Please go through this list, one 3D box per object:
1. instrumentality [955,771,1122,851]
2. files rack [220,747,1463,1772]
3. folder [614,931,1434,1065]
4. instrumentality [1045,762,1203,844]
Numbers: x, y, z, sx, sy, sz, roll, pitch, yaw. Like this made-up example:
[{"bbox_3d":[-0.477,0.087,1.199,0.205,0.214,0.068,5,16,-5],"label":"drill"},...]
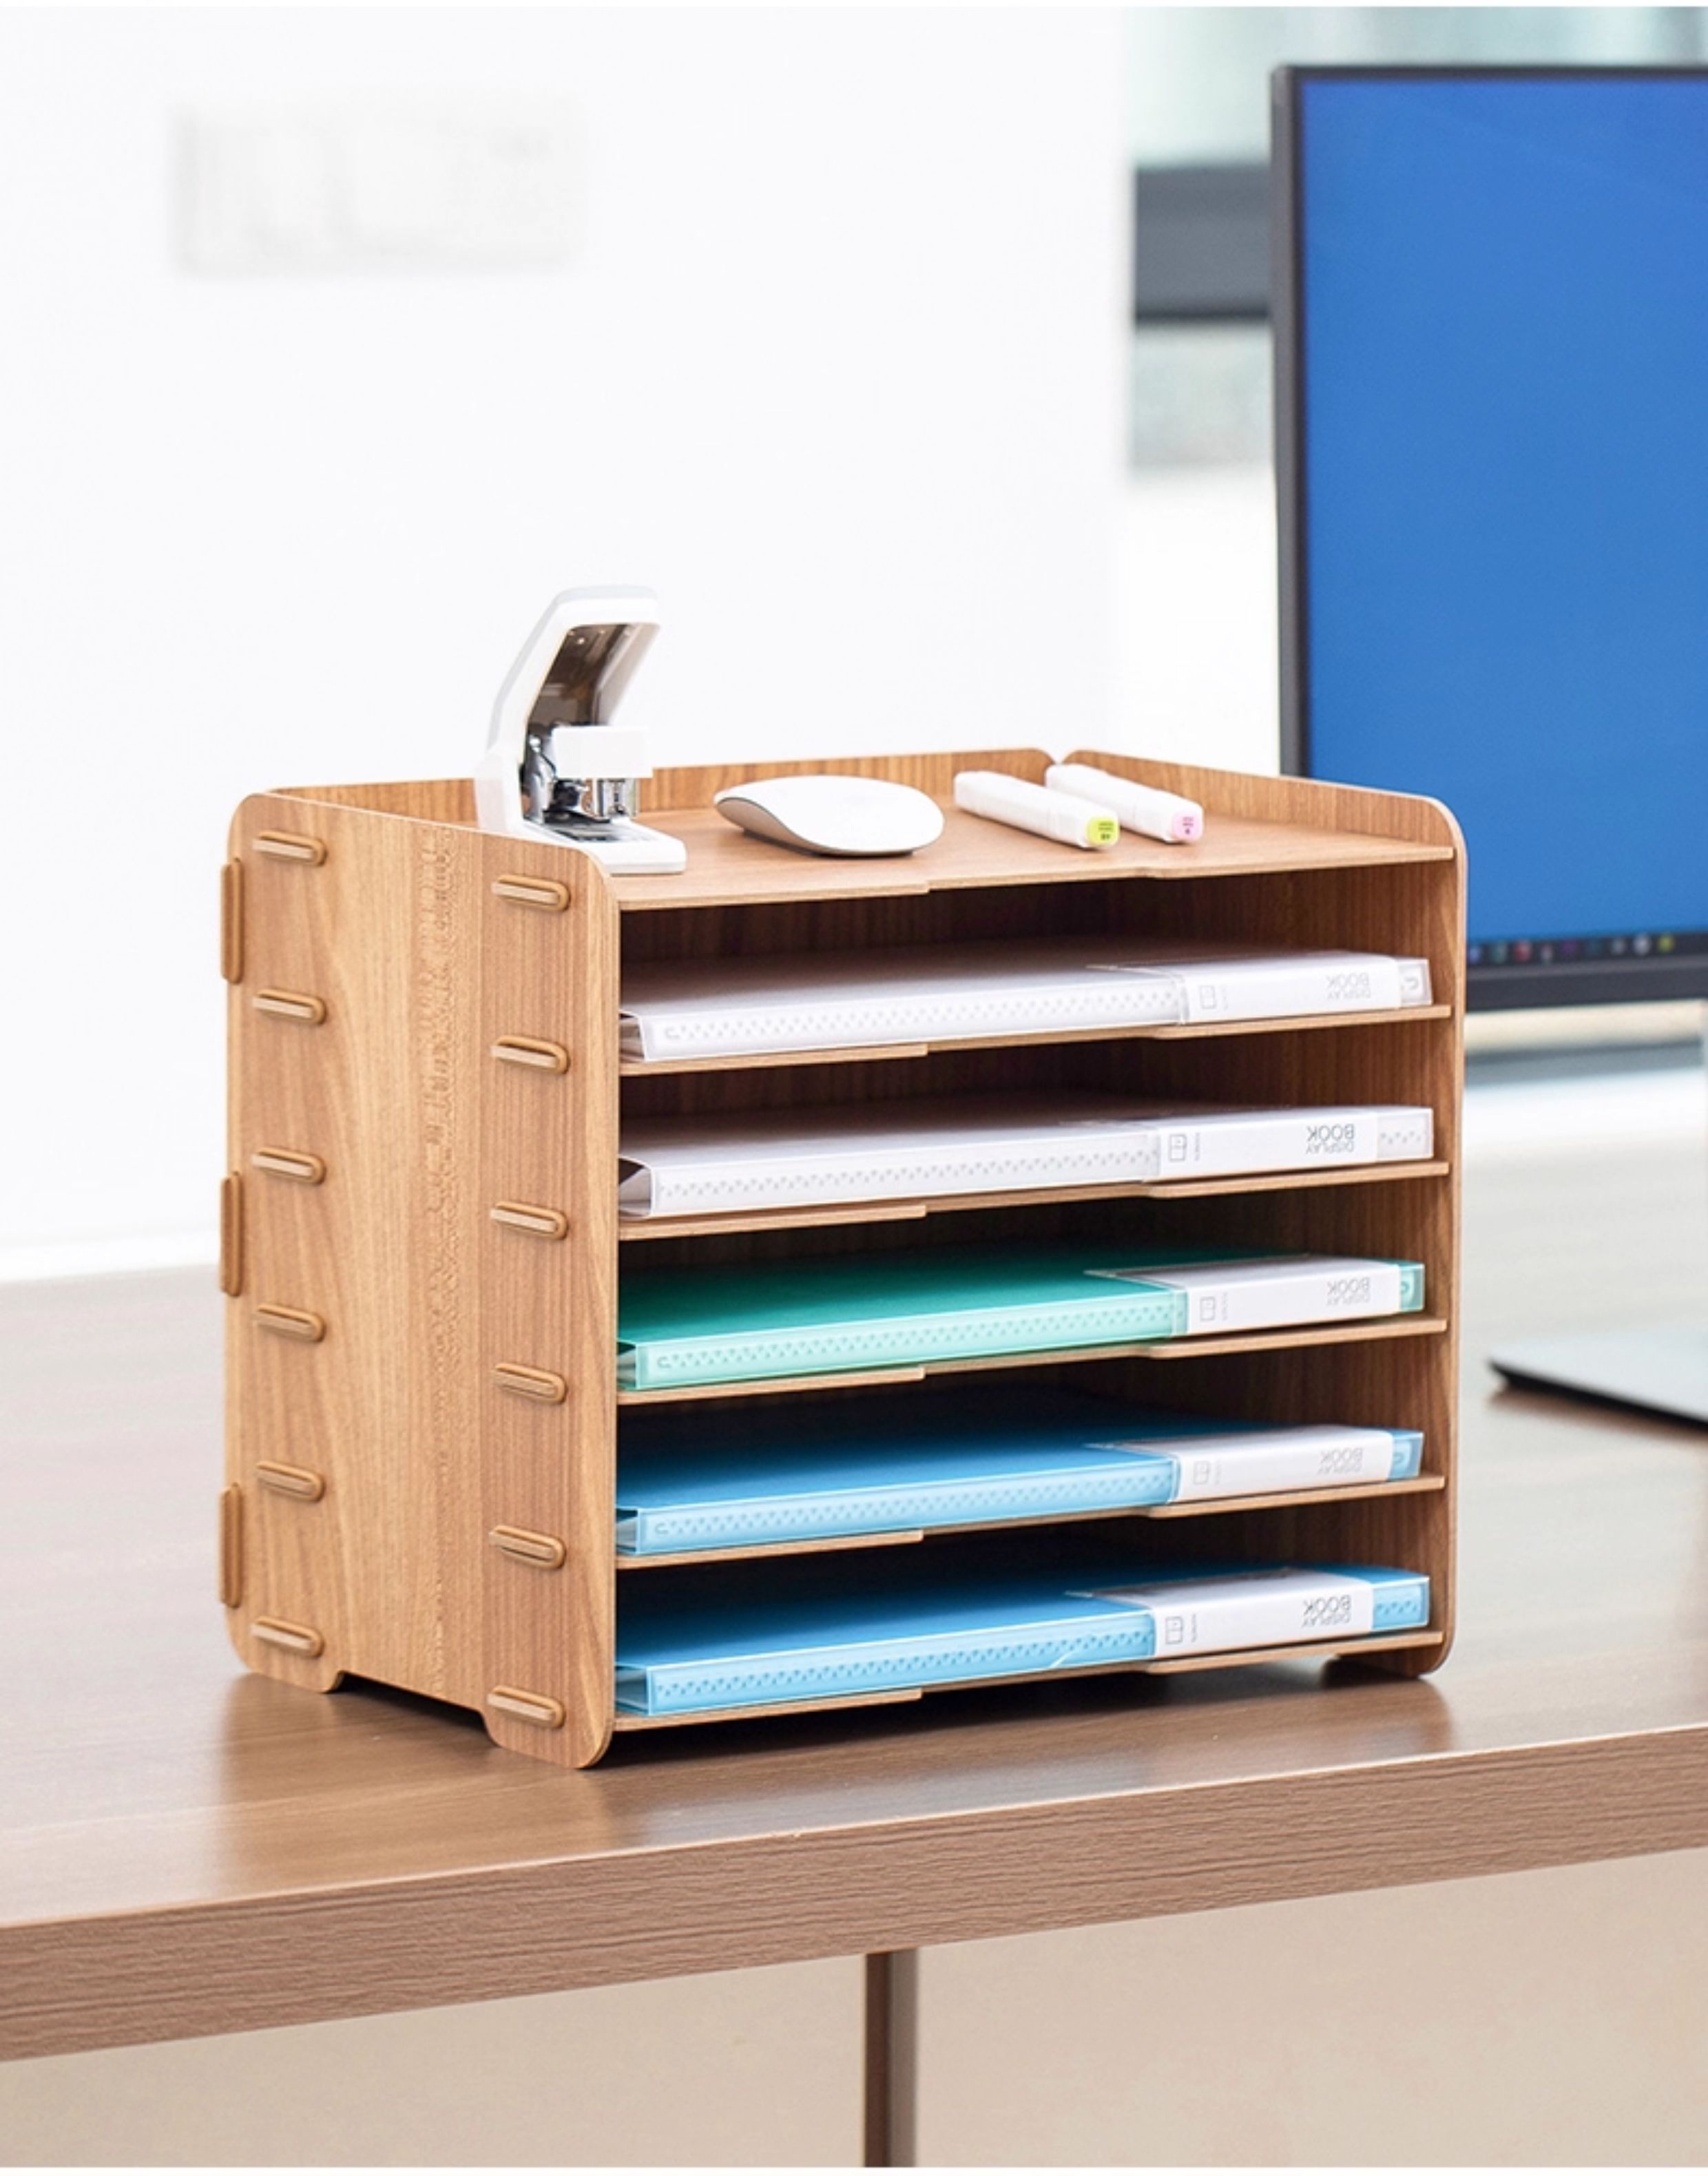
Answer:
[{"bbox_3d":[0.070,-0.123,1.073,0.026,0.021,0.113,5,11,-29],"label":"instrumentality"},{"bbox_3d":[-0.006,0.083,1.119,0.597,0.415,0.420,-2,5,-32],"label":"files rack"},{"bbox_3d":[0.037,-0.041,1.007,0.341,0.025,0.199,-6,10,-24],"label":"folder"},{"bbox_3d":[0.117,-0.126,1.085,0.029,0.024,0.114,-7,16,-25],"label":"instrumentality"}]
